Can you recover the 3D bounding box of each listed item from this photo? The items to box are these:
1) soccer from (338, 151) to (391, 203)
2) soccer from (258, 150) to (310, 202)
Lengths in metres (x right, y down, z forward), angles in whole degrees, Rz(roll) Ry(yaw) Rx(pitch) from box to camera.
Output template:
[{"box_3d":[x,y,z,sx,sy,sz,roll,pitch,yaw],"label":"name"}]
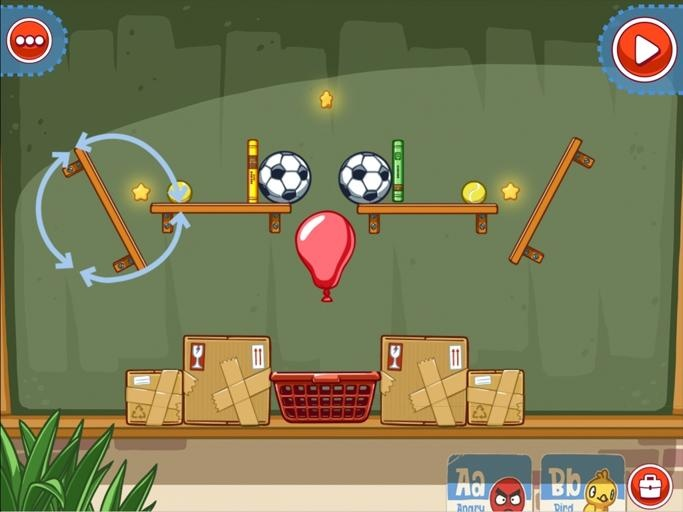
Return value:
[{"box_3d":[0.128,-0.442,5.731,0.274,0.231,0.148,-2,-29,7],"label":"soccer"},{"box_3d":[-0.326,-0.444,5.788,0.238,0.295,0.138,0,13,-2],"label":"soccer"}]
